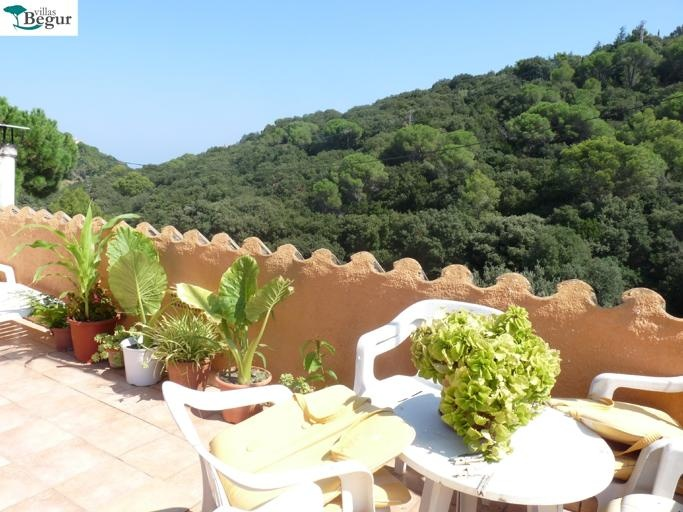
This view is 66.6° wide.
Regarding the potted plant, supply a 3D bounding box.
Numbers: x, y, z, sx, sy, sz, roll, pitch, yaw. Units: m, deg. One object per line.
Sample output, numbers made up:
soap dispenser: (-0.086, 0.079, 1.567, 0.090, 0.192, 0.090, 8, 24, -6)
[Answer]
potted plant: (-1.820, 0.214, 5.757, 3.442, 1.779, 1.754, 16, 18, 29)
